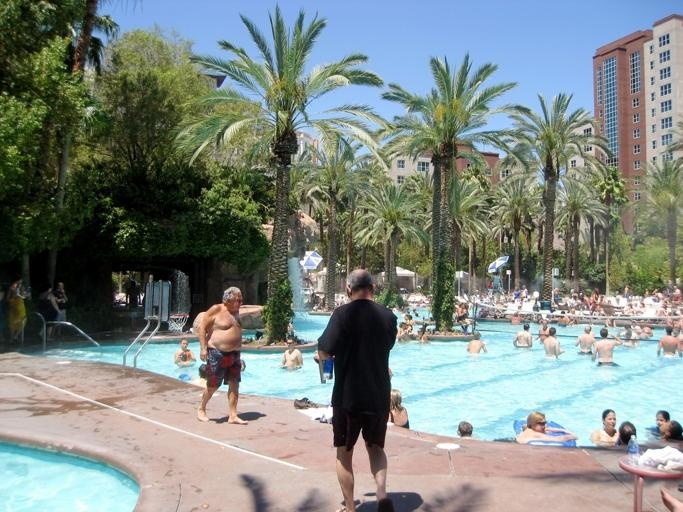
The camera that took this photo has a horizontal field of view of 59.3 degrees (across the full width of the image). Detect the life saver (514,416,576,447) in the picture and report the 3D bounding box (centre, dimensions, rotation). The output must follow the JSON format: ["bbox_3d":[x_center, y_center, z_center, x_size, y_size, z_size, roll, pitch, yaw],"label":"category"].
[{"bbox_3d":[3.575,3.117,10.666,0.826,0.387,0.849,2,-1,-2],"label":"life saver"}]

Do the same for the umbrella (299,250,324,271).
[{"bbox_3d":[-1.423,0.113,28.202,0.764,0.875,1.830,1,-7,-5],"label":"umbrella"}]

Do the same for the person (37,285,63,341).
[{"bbox_3d":[-9.360,1.775,19.228,0.639,1.604,2.221,3,-7,-26],"label":"person"}]
